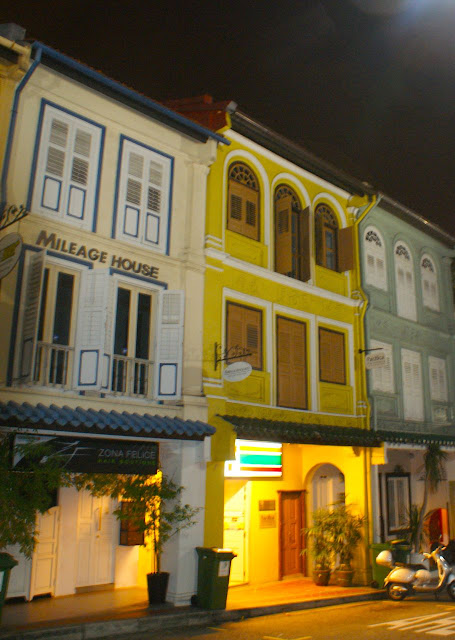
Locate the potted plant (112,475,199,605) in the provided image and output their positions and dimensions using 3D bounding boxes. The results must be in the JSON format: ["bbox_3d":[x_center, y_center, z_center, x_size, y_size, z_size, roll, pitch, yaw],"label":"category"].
[{"bbox_3d":[-1.345,3.821,9.213,1.677,2.262,0.978,-8,-8,26],"label":"potted plant"}]

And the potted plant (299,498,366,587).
[{"bbox_3d":[2.775,5.651,12.981,1.215,1.824,1.212,-16,-25,41],"label":"potted plant"}]
